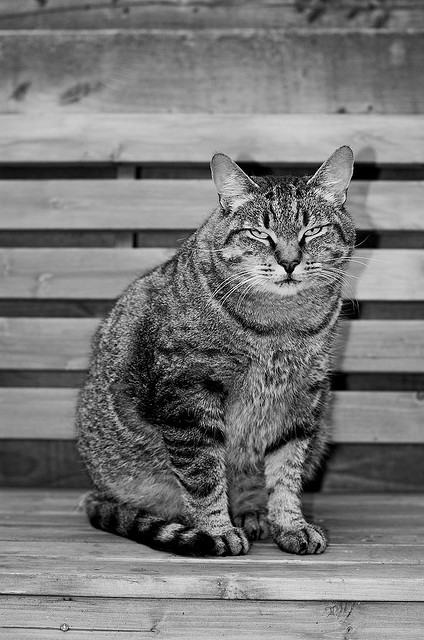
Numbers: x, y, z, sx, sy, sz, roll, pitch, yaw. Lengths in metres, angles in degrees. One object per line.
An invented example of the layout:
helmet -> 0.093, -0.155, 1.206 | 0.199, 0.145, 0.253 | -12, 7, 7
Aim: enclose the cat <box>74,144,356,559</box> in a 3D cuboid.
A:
cat -> 0.007, 0.087, 3.094 | 0.659, 1.077, 0.899 | -2, 5, -39
